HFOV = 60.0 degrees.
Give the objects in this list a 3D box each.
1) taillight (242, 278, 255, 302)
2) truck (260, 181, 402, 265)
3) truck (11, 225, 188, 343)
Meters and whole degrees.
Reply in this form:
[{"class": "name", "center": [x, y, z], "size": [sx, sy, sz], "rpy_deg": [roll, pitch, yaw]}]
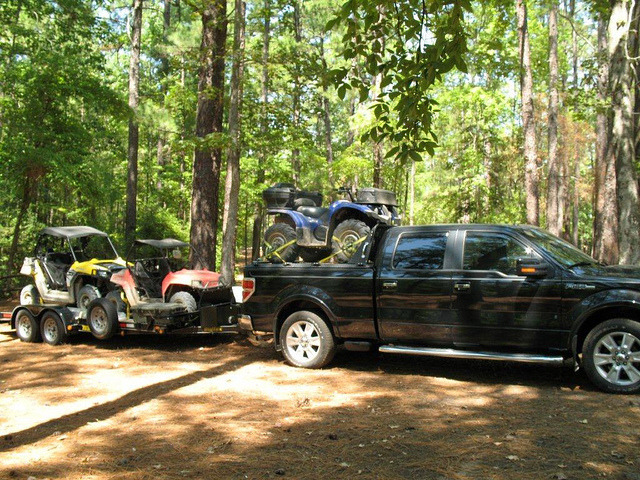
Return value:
[{"class": "taillight", "center": [-1.306, 0.911, 10.164], "size": [0.262, 0.429, 0.088], "rpy_deg": [2, 7, 31]}, {"class": "truck", "center": [0.286, -0.382, 14.181], "size": [3.349, 1.941, 1.837], "rpy_deg": [1, -3, 36]}, {"class": "truck", "center": [-5.197, 1.170, 12.137], "size": [4.912, 2.233, 1.761], "rpy_deg": [3, 8, 40]}]
